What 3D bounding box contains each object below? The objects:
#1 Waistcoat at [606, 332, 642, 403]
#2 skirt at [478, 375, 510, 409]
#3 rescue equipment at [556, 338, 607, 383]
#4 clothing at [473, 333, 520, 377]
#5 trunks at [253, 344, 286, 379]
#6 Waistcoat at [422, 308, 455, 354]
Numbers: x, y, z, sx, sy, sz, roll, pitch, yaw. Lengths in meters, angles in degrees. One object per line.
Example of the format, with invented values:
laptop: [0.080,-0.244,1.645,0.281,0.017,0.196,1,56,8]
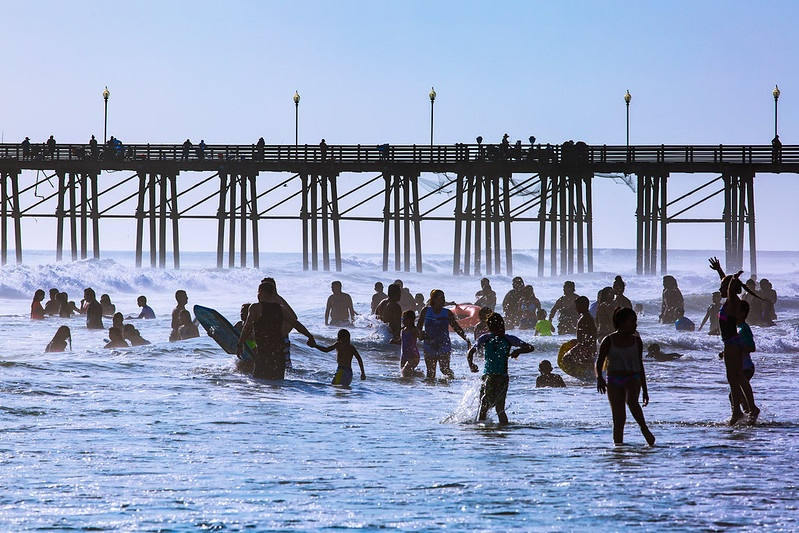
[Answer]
Waistcoat: [3.310,1.374,25.351,0.595,0.712,0.405,-9,-26,8]
skirt: [1.405,1.926,26.562,0.477,0.655,0.365,6,20,-2]
rescue equipment: [2.986,1.535,29.741,0.173,0.598,0.624,17,25,-27]
clothing: [1.537,1.420,27.616,0.980,0.743,0.319,1,6,8]
trunks: [-2.173,1.585,28.542,0.624,0.877,0.541,3,-6,-3]
Waistcoat: [0.621,1.109,29.459,0.530,0.902,0.578,0,2,1]
